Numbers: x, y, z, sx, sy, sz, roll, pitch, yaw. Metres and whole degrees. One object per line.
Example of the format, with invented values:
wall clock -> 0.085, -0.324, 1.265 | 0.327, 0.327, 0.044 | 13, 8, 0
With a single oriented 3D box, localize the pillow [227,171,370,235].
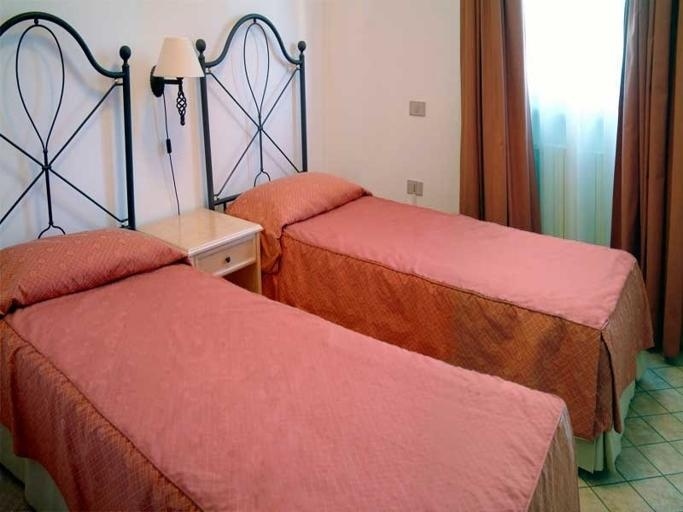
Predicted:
pillow -> -0.237, -0.367, 3.291 | 0.393, 0.178, 0.625 | 21, 40, 30
